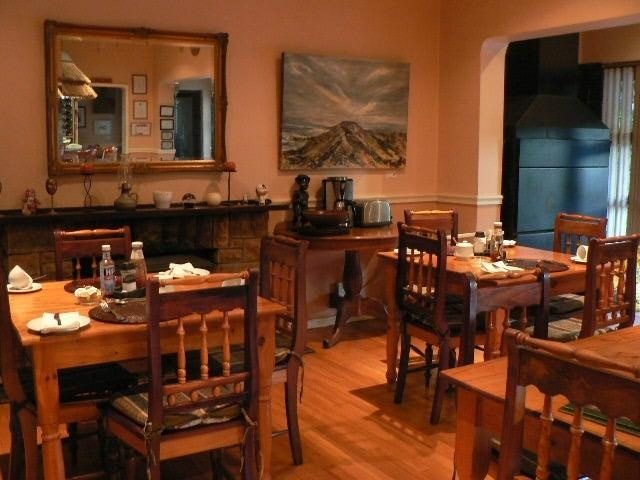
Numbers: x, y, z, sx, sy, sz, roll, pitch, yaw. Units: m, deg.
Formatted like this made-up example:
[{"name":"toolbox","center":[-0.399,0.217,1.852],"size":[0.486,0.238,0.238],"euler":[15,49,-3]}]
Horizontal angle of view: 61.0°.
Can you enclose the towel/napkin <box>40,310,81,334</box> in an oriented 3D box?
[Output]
[{"name":"towel/napkin","center":[-1.080,0.342,2.258],"size":[0.105,0.040,0.107],"euler":[5,6,44]}]

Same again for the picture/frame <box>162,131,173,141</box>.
[{"name":"picture/frame","center":[-1.239,-0.836,4.380],"size":[0.071,0.056,0.010],"euler":[-4,7,-38]}]

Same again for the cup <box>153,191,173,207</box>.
[{"name":"cup","center":[-1.238,-0.312,4.272],"size":[0.119,0.101,0.120],"euler":[-1,1,0]}]

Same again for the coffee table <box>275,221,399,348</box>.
[{"name":"coffee table","center":[0.174,0.346,4.852],"size":[1.029,0.976,1.010],"euler":[-1,4,-24]}]

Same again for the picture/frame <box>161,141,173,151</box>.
[{"name":"picture/frame","center":[-1.243,-0.758,4.390],"size":[0.099,0.071,0.021],"euler":[1,5,-30]}]

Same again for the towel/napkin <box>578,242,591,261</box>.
[{"name":"towel/napkin","center":[1.695,0.081,3.495],"size":[0.079,0.117,0.082],"euler":[0,8,-45]}]

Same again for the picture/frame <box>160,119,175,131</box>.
[{"name":"picture/frame","center":[-1.239,-0.920,4.370],"size":[0.091,0.083,0.009],"euler":[-6,9,-27]}]

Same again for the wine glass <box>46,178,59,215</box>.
[{"name":"wine glass","center":[-1.979,-0.331,4.008],"size":[0.088,0.238,0.210],"euler":[-5,12,-27]}]

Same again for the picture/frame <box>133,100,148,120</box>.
[{"name":"picture/frame","center":[-1.416,-1.018,4.263],"size":[0.137,0.178,0.016],"euler":[-4,10,-34]}]

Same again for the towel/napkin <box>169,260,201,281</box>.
[{"name":"towel/napkin","center":[-0.739,0.167,2.925],"size":[0.129,0.069,0.164],"euler":[0,3,-32]}]

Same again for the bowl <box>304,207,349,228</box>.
[{"name":"bowl","center":[0.073,-0.164,4.629],"size":[0.437,0.176,0.362],"euler":[-3,11,-14]}]

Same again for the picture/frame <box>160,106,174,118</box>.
[{"name":"picture/frame","center":[-1.236,-1.026,4.357],"size":[0.090,0.082,0.010],"euler":[-4,11,-38]}]

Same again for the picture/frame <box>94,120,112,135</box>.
[{"name":"picture/frame","center":[-1.670,-0.856,4.152],"size":[0.115,0.114,0.012],"euler":[-1,2,-40]}]

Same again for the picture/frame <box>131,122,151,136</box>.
[{"name":"picture/frame","center":[-1.420,-0.868,4.281],"size":[0.109,0.085,0.015],"euler":[0,-1,-36]}]

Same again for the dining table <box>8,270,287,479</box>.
[{"name":"dining table","center":[-0.800,0.437,2.585],"size":[0.935,0.805,1.009],"euler":[0,5,-16]}]

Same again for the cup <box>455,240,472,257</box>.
[{"name":"cup","center":[0.968,0.056,3.643],"size":[0.106,0.086,0.082],"euler":[4,-2,-43]}]

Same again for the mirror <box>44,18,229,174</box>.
[{"name":"mirror","center":[-1.490,-1.134,4.231],"size":[1.193,1.017,0.059],"euler":[-3,8,-28]}]
